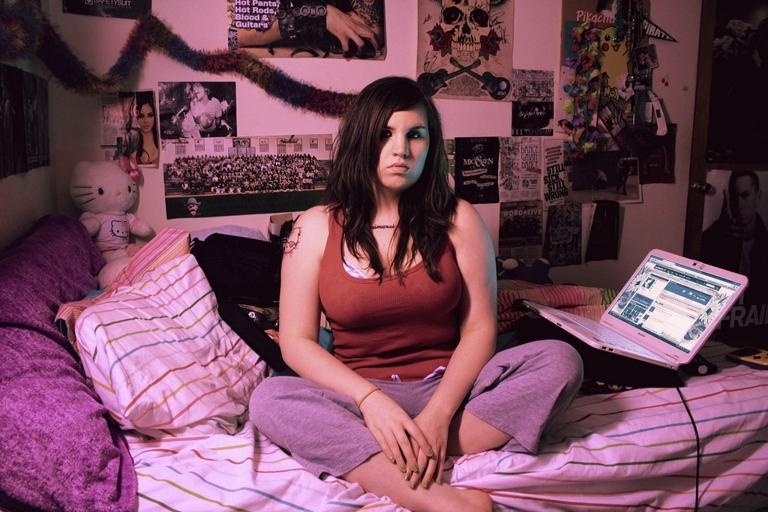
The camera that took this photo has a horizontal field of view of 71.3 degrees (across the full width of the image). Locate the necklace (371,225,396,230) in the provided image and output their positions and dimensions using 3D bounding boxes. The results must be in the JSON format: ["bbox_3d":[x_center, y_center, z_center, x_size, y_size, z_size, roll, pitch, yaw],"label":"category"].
[{"bbox_3d":[0.001,-0.110,2.013,0.067,0.012,0.017,0,24,-3],"label":"necklace"}]

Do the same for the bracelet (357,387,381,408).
[{"bbox_3d":[-0.048,0.462,1.763,0.014,0.060,0.061,49,10,7],"label":"bracelet"}]

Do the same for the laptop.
[{"bbox_3d":[0.963,0.218,2.069,0.588,0.370,0.596,18,-1,-20],"label":"laptop"}]
